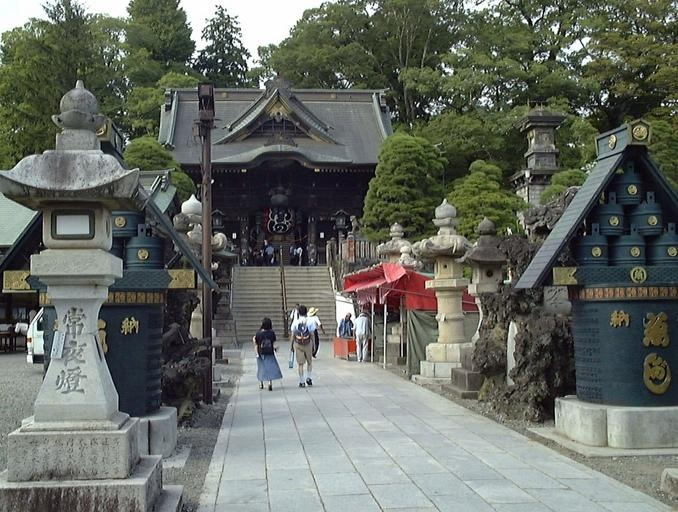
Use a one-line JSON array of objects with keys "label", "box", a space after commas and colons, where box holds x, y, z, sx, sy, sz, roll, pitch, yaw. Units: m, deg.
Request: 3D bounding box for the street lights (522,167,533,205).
[{"label": "street lights", "box": [8.169, -3.093, 34.371, 0.273, 1.388, 0.882, 0, 2, -2]}]

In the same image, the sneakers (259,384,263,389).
[{"label": "sneakers", "box": [-1.578, 2.657, 15.927, 0.066, 0.127, 0.072, -1, -3, 3]}]

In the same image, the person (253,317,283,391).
[{"label": "person", "box": [-1.420, 1.959, 15.755, 0.521, 1.491, 1.044, 0, 2, -5]}]

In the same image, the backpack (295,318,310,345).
[{"label": "backpack", "box": [-0.776, 1.577, 16.304, 0.322, 0.511, 0.311, 0, 2, 1]}]

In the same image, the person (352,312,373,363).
[{"label": "person", "box": [0.648, 2.223, 21.452, 0.417, 1.219, 0.999, 0, 2, 2]}]
